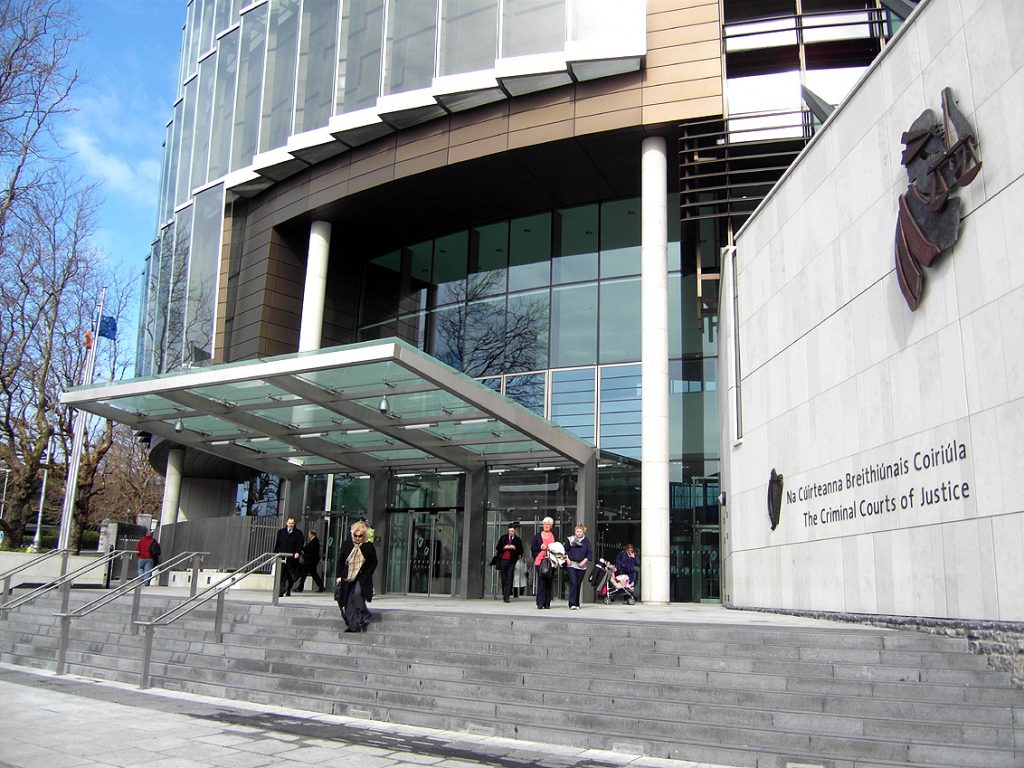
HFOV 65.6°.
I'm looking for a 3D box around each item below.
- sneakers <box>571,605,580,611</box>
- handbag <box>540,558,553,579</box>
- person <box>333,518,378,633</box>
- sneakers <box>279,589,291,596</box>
[{"bbox_3d":[1.350,4.845,17.179,0.135,0.044,0.136,-6,-8,37],"label":"sneakers"},{"bbox_3d":[0.711,3.897,16.832,0.287,0.372,0.170,-6,1,-7],"label":"handbag"},{"bbox_3d":[-2.598,3.233,13.372,0.688,1.811,1.016,-7,1,-12],"label":"person"},{"bbox_3d":[-5.600,5.220,19.789,0.275,0.106,0.403,0,-8,-4],"label":"sneakers"}]
